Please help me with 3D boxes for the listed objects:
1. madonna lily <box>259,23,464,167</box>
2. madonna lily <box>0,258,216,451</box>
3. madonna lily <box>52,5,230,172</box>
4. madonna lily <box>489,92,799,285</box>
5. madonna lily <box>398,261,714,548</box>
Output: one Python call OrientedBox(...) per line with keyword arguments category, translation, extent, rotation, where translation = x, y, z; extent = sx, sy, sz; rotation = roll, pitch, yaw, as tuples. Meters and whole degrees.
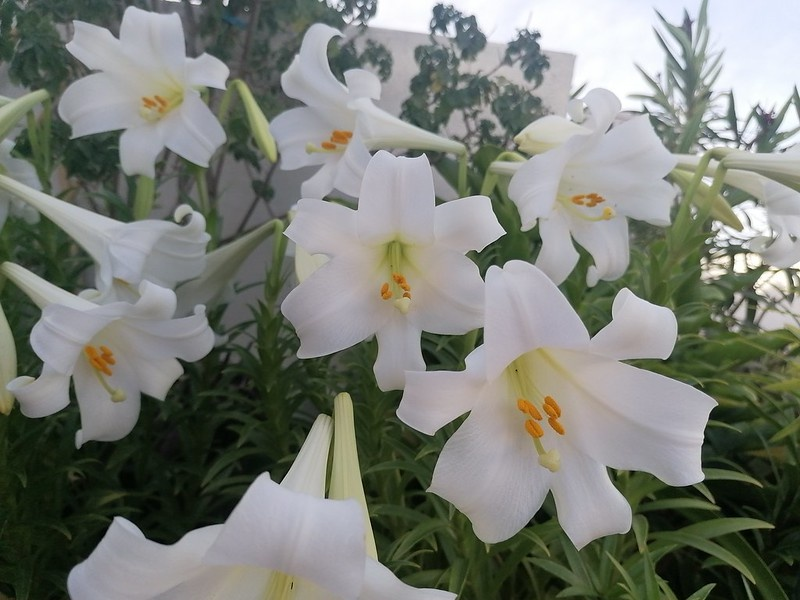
OrientedBox(category="madonna lily", translation=(-0.105, -0.369, 1.402), extent=(0.309, 0.184, 0.295), rotation=(4, 71, -3))
OrientedBox(category="madonna lily", translation=(-0.539, 0.100, 1.221), extent=(0.362, 0.289, 0.270), rotation=(37, 39, 29))
OrientedBox(category="madonna lily", translation=(-0.507, -0.419, 1.320), extent=(0.312, 0.359, 0.134), rotation=(16, 16, 1))
OrientedBox(category="madonna lily", translation=(0.468, -0.188, 1.334), extent=(0.612, 0.385, 0.252), rotation=(5, 24, -17))
OrientedBox(category="madonna lily", translation=(0.230, 0.155, 1.045), extent=(0.472, 0.410, 0.184), rotation=(10, 23, -7))
